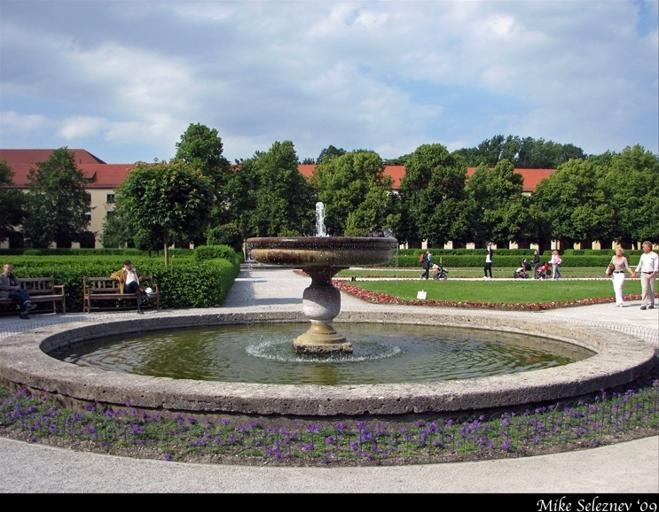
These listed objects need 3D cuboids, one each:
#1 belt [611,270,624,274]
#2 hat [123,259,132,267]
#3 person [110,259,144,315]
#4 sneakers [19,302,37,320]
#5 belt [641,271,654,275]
[{"bbox_3d":[8.137,0.461,20.021,0.251,0.107,0.238,2,7,8],"label":"belt"},{"bbox_3d":[-4.993,0.191,17.682,0.221,0.223,0.181,8,3,19],"label":"hat"},{"bbox_3d":[-4.920,0.787,17.612,0.708,1.277,1.510,-3,8,-26],"label":"person"},{"bbox_3d":[-7.210,1.324,16.998,0.127,0.402,0.278,2,38,-46],"label":"sneakers"},{"bbox_3d":[8.344,0.471,18.624,0.292,0.083,0.069,4,7,25],"label":"belt"}]
